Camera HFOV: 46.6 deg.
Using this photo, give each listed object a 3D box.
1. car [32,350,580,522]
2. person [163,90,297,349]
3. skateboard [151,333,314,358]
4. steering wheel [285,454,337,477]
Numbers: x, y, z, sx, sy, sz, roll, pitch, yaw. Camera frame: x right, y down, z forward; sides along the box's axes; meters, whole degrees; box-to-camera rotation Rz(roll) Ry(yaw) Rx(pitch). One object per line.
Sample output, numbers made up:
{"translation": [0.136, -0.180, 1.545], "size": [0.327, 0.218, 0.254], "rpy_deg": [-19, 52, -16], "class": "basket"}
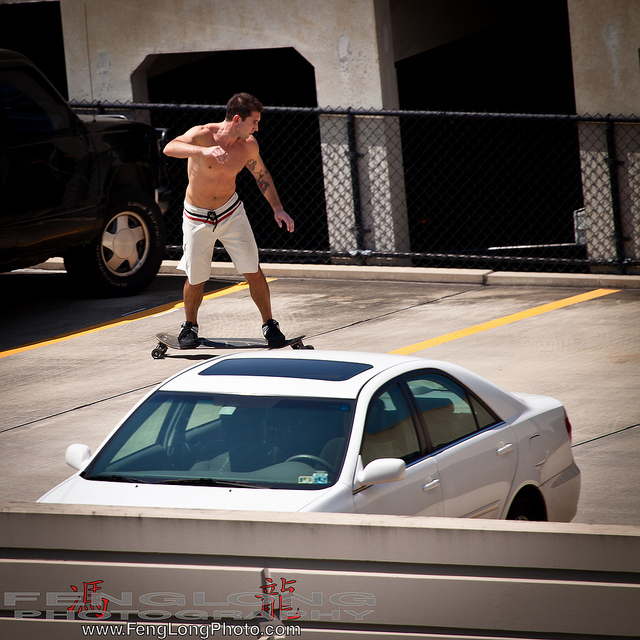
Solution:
{"translation": [0.348, 0.599, 4.215], "size": [1.301, 0.685, 2.692], "rpy_deg": [-1, -2, 37], "class": "car"}
{"translation": [-0.990, -1.042, 7.928], "size": [1.322, 2.716, 0.837], "rpy_deg": [-7, 7, -8], "class": "person"}
{"translation": [-0.885, 0.253, 7.357], "size": [1.399, 0.167, 0.278], "rpy_deg": [1, 12, 4], "class": "skateboard"}
{"translation": [-0.013, 0.675, 3.521], "size": [0.277, 0.053, 0.088], "rpy_deg": [1, 7, 36], "class": "steering wheel"}
